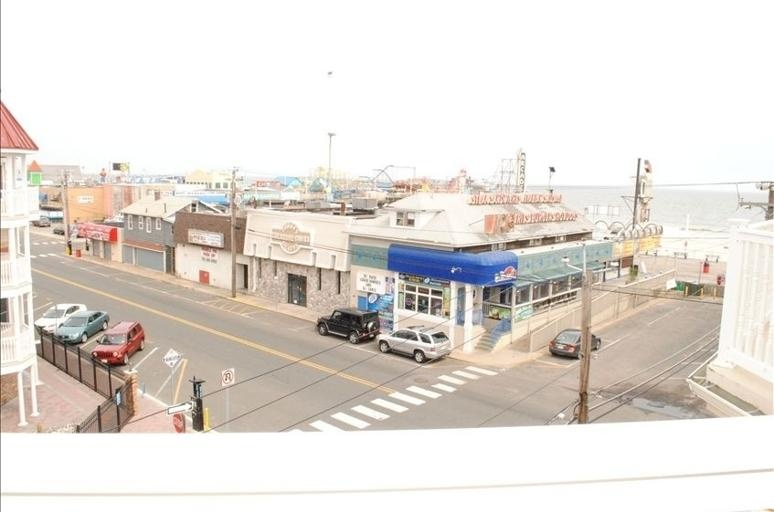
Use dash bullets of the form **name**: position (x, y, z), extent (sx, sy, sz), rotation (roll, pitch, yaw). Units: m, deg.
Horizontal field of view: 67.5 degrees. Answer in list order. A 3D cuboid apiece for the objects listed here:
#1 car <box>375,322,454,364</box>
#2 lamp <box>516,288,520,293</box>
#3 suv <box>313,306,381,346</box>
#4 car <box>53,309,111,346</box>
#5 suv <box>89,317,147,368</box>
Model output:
- **car**: position (1.286, 4.081, 27.478), extent (2.937, 1.089, 1.532), rotation (8, 8, 37)
- **lamp**: position (6.793, 1.759, 29.969), extent (0.095, 0.315, 0.582), rotation (5, 9, 26)
- **suv**: position (-2.090, 3.447, 30.222), extent (2.844, 1.269, 1.570), rotation (11, 10, 32)
- **car**: position (-15.533, 3.571, 29.432), extent (1.648, 1.056, 3.495), rotation (2, 6, 8)
- **suv**: position (-12.000, 3.876, 26.309), extent (1.677, 1.102, 3.234), rotation (-1, 4, 3)
